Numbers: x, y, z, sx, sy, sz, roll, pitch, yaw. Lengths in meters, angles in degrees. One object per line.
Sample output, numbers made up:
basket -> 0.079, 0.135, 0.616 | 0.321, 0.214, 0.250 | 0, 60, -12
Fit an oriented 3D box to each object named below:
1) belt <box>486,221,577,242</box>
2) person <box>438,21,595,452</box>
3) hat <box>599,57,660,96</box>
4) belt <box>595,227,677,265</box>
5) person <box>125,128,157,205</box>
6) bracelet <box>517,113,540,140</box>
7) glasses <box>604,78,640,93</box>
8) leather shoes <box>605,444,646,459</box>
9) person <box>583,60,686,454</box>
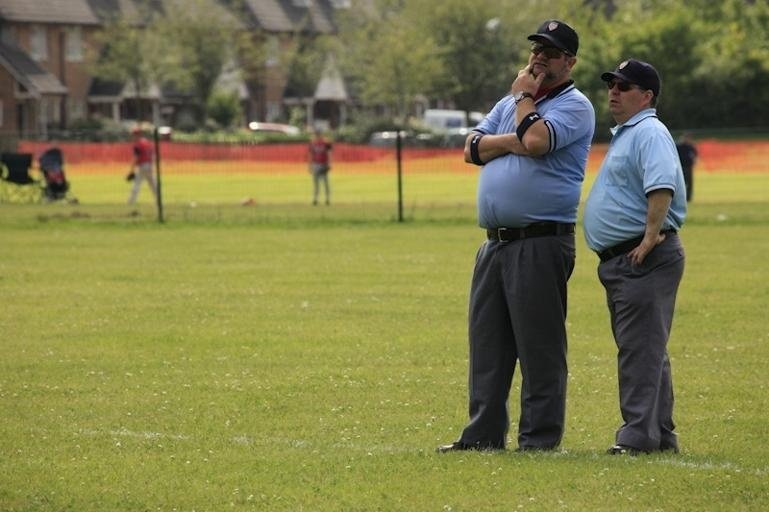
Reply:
belt -> 1.307, -0.238, 14.410 | 0.761, 0.186, 0.171 | 0, 5, 3
person -> 1.267, -0.196, 14.406 | 1.132, 3.801, 0.496 | 0, 6, 6
hat -> 2.253, -1.642, 14.639 | 0.472, 0.212, 0.314 | 23, 9, -15
belt -> 2.227, -0.115, 14.569 | 0.446, 0.151, 0.378 | -23, 1, 33
person -> -2.397, -0.944, 16.350 | 0.219, 0.811, 0.739 | 1, 6, 15
bracelet -> 1.253, -1.167, 14.259 | 0.227, 0.060, 0.232 | -35, -5, 19
glasses -> 2.130, -1.542, 14.591 | 0.141, 0.061, 0.195 | 14, -5, 45
leather shoes -> 2.127, 1.720, 14.358 | 0.220, 0.065, 0.136 | 4, 2, 18
person -> 2.256, -0.015, 14.463 | 0.825, 3.456, 0.625 | 0, 6, 8
